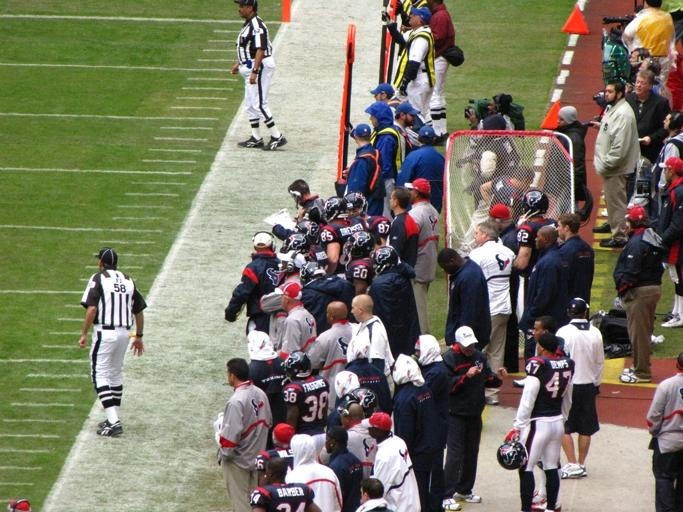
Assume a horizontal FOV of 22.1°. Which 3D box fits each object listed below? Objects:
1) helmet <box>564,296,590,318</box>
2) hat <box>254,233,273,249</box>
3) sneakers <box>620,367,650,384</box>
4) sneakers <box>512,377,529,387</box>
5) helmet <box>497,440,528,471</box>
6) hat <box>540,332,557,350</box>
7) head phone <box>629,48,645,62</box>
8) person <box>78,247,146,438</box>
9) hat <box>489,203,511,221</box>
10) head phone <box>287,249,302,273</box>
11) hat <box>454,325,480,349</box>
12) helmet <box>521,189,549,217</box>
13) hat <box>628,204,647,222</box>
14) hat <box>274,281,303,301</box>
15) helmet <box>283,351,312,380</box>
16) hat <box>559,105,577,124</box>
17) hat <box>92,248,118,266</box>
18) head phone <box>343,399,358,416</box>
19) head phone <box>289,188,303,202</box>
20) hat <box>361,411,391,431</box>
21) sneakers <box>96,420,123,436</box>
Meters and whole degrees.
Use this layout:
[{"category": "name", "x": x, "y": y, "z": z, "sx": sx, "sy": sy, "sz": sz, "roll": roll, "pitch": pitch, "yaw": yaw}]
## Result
[{"category": "helmet", "x": 3.184, "y": 0.700, "z": 23.433, "sx": 0.227, "sy": 0.185, "sz": 0.327, "roll": 4, "pitch": 25, "yaw": 23}, {"category": "hat", "x": -1.043, "y": -0.204, "z": 24.045, "sx": 0.244, "sy": 0.195, "sz": 0.343, "roll": 4, "pitch": 7, "yaw": 2}, {"category": "sneakers", "x": 4.164, "y": 1.737, "z": 24.874, "sx": 0.336, "sy": 0.133, "sz": 0.200, "roll": 12, "pitch": 0, "yaw": -1}, {"category": "sneakers", "x": 2.317, "y": 1.682, "z": 22.735, "sx": 0.163, "sy": 0.100, "sz": 0.290, "roll": -1, "pitch": 1, "yaw": 17}, {"category": "helmet", "x": 2.186, "y": 2.575, "z": 22.096, "sx": 0.438, "sy": 0.421, "sz": 0.330, "roll": -2, "pitch": 7, "yaw": -14}, {"category": "hat", "x": 2.661, "y": 1.130, "z": 22.397, "sx": 0.178, "sy": 0.181, "sz": 0.223, "roll": -17, "pitch": 49, "yaw": -30}, {"category": "head phone", "x": 5.018, "y": -3.390, "z": 29.708, "sx": 0.204, "sy": 0.233, "sz": 0.245, "roll": -6, "pitch": 34, "yaw": -5}, {"category": "person", "x": -3.131, "y": 1.192, "z": 24.180, "sx": 0.957, "sy": 2.570, "sz": 0.818, "roll": -2, "pitch": 8, "yaw": -17}, {"category": "hat", "x": 2.269, "y": -0.627, "z": 24.845, "sx": 0.200, "sy": 0.147, "sz": 0.278, "roll": 7, "pitch": 20, "yaw": 10}, {"category": "head phone", "x": -0.610, "y": 0.086, "z": 23.795, "sx": 0.237, "sy": 0.205, "sz": 0.226, "roll": -9, "pitch": 35, "yaw": -14}, {"category": "hat", "x": 1.604, "y": 1.062, "z": 22.567, "sx": 0.218, "sy": 0.156, "sz": 0.290, "roll": -10, "pitch": 12, "yaw": -17}, {"category": "helmet", "x": 2.746, "y": -0.756, "z": 24.838, "sx": 0.307, "sy": 0.342, "sz": 0.370, "roll": 0, "pitch": 24, "yaw": -2}, {"category": "hat", "x": 4.152, "y": -0.589, "z": 24.535, "sx": 0.267, "sy": 0.211, "sz": 0.367, "roll": 1, "pitch": 7, "yaw": 9}, {"category": "hat", "x": -0.680, "y": 0.464, "z": 23.067, "sx": 0.306, "sy": 0.170, "sz": 0.200, "roll": 23, "pitch": 30, "yaw": 24}, {"category": "helmet", "x": -0.547, "y": 1.391, "z": 21.721, "sx": 0.272, "sy": 0.312, "sz": 0.357, "roll": -6, "pitch": 23, "yaw": -21}, {"category": "hat", "x": 3.496, "y": -2.187, "z": 27.278, "sx": 0.321, "sy": 0.252, "sz": 0.238, "roll": -9, "pitch": 17, "yaw": 19}, {"category": "hat", "x": -3.233, "y": 0.009, "z": 24.175, "sx": 0.247, "sy": 0.206, "sz": 0.362, "roll": -8, "pitch": 34, "yaw": -31}, {"category": "head phone", "x": 0.136, "y": 1.877, "z": 21.245, "sx": 0.159, "sy": 0.187, "sz": 0.167, "roll": 7, "pitch": 37, "yaw": -48}, {"category": "head phone", "x": -0.621, "y": -0.855, "z": 25.104, "sx": 0.095, "sy": 0.189, "sz": 0.144, "roll": -7, "pitch": 15, "yaw": -22}, {"category": "hat", "x": 0.444, "y": 2.018, "z": 21.113, "sx": 0.285, "sy": 0.159, "sz": 0.195, "roll": 10, "pitch": 31, "yaw": 10}, {"category": "sneakers", "x": -3.150, "y": 2.397, "z": 24.032, "sx": 0.428, "sy": 0.189, "sz": 0.152, "roll": 2, "pitch": 21, "yaw": 4}]
